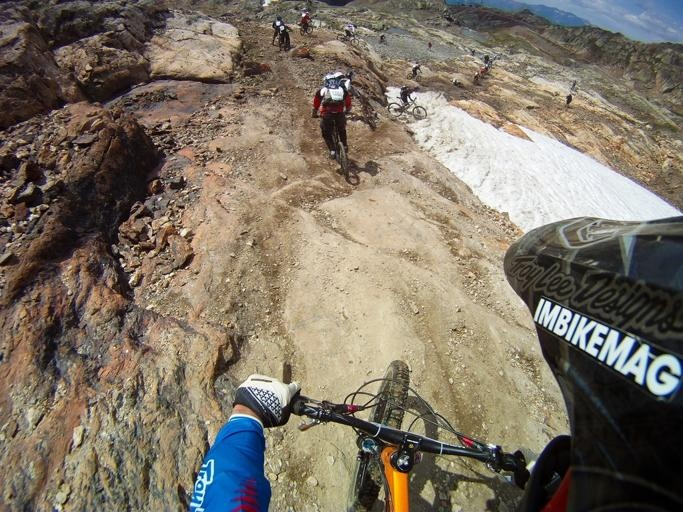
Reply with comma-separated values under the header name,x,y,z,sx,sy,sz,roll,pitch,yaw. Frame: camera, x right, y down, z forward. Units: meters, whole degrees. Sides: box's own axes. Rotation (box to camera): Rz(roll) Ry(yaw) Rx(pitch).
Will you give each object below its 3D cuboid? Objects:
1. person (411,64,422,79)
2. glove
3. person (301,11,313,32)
name,x,y,z,sx,sy,sz,roll,pitch,yaw
person,4.389,-10.855,20.612,0.514,0.788,0.743,17,48,2
glove,-0.787,1.501,3.625,0.573,0.218,0.533,27,44,-7
person,-2.020,-13.590,20.447,0.477,0.898,1.436,17,48,2
